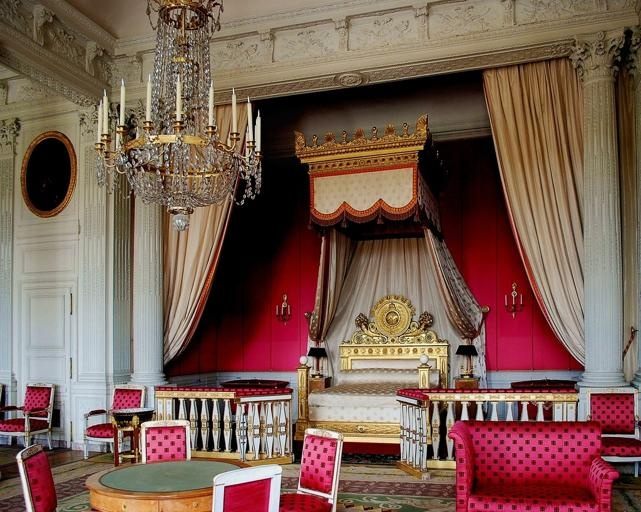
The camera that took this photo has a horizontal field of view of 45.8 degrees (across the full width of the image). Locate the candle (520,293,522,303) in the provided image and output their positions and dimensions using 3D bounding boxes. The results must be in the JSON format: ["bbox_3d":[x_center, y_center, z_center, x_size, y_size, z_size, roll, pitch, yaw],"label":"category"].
[{"bbox_3d":[3.005,0.625,11.394,0.040,0.123,0.019,-1,-6,4],"label":"candle"}]

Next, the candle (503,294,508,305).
[{"bbox_3d":[2.790,0.652,11.460,0.049,0.171,0.018,-2,-7,17],"label":"candle"}]

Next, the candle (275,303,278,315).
[{"bbox_3d":[-0.720,0.886,12.653,0.057,0.188,0.019,-4,-7,30],"label":"candle"}]

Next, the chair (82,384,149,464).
[{"bbox_3d":[-2.949,2.234,10.366,0.631,1.120,0.619,8,-11,-24],"label":"chair"}]

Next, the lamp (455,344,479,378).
[{"bbox_3d":[2.121,1.534,11.035,0.299,0.403,0.506,-1,5,15],"label":"lamp"}]

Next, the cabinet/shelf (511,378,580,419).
[{"bbox_3d":[2.931,1.894,10.003,0.844,0.568,2.569,-3,-9,18],"label":"cabinet/shelf"}]

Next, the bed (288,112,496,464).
[{"bbox_3d":[0.902,0.281,10.808,2.521,4.769,2.017,-2,-7,14],"label":"bed"}]

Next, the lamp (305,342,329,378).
[{"bbox_3d":[-0.055,1.595,11.785,0.414,0.572,0.429,-3,-4,41],"label":"lamp"}]

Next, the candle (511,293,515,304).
[{"bbox_3d":[2.896,0.619,11.428,0.064,0.178,0.029,-2,-7,14],"label":"candle"}]
